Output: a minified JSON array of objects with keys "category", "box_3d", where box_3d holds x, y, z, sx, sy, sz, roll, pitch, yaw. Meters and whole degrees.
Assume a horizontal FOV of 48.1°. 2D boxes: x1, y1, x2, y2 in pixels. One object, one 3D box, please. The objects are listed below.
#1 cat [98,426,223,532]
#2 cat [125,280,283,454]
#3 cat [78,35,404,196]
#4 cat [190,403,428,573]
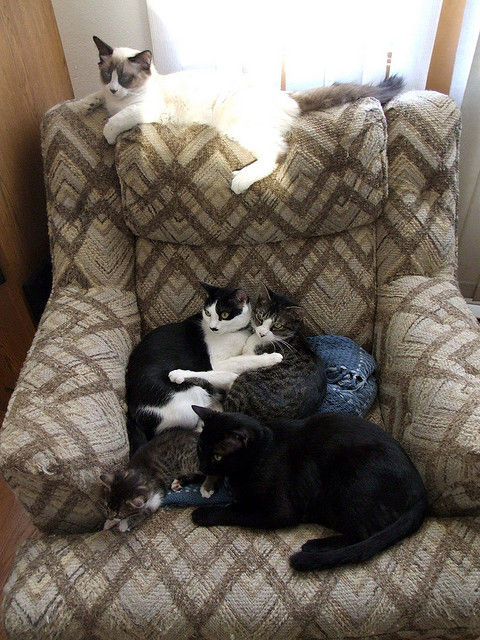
[{"category":"cat","box_3d":[-0.169,0.297,1.187,0.121,0.138,0.287,9,48,51]},{"category":"cat","box_3d":[0.013,0.096,1.345,0.298,0.213,0.474,29,33,14]},{"category":"cat","box_3d":[0.031,-0.594,1.597,0.864,0.248,0.469,-2,64,6]},{"category":"cat","box_3d":[0.132,0.306,1.082,0.416,0.284,0.190,3,89,6]}]
